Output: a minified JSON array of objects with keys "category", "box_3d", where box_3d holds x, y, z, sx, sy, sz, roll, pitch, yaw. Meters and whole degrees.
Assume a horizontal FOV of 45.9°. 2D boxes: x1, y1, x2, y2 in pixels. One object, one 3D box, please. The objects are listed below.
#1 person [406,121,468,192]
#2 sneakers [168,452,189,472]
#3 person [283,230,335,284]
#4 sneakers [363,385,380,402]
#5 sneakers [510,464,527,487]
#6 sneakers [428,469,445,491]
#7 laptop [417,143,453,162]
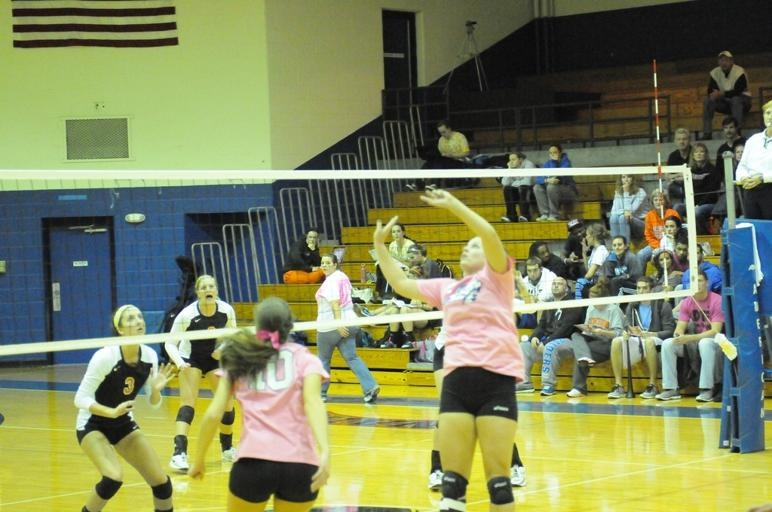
[{"category":"person","box_3d":[1.317,-2.154,19.850,0.876,1.473,1.371,-6,23,43]},{"category":"sneakers","box_3d":[-2.621,2.641,11.551,0.161,0.160,0.331,4,-7,-42]},{"category":"person","box_3d":[-1.536,0.071,17.288,1.085,1.254,0.860,-6,-11,26]},{"category":"sneakers","box_3d":[-0.212,2.288,14.859,0.163,0.391,0.149,30,11,36]},{"category":"sneakers","box_3d":[1.549,2.590,10.685,0.258,0.278,0.623,-1,-12,8]},{"category":"sneakers","box_3d":[0.566,2.606,10.489,0.192,0.224,0.525,0,-9,0]},{"category":"laptop","box_3d":[1.044,-2.281,20.078,0.463,0.228,0.649,-3,2,-35]}]
